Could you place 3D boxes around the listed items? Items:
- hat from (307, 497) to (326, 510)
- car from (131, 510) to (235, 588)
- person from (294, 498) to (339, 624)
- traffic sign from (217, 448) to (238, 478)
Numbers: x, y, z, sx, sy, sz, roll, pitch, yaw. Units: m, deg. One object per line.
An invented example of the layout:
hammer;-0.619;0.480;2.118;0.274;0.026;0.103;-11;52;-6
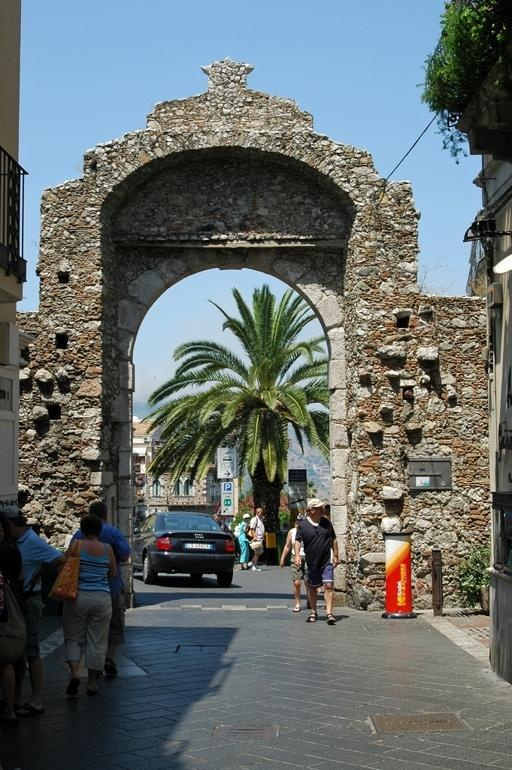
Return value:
hat;0.704;1.461;11.752;0.217;0.106;0.169;-18;-12;43
car;-1.280;2.947;17.480;1.384;1.298;1.907;4;-7;-19
person;0.730;2.134;11.936;0.529;1.473;1.053;1;-7;3
traffic sign;-0.700;1.899;23.608;0.632;0.880;1.153;0;-1;2
